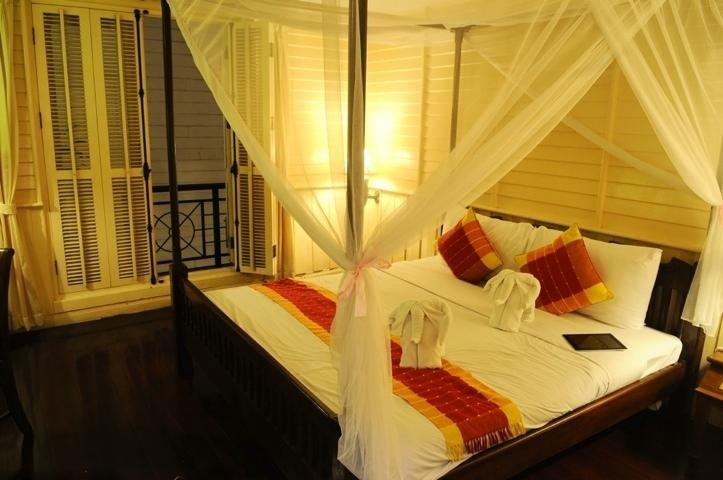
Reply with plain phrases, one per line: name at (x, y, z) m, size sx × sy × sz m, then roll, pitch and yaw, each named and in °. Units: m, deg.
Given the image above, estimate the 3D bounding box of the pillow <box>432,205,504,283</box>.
pillow at (0.831, 0.095, 4.555) m, size 0.621 × 0.490 × 0.182 m, roll -32°, pitch 41°, yaw -3°

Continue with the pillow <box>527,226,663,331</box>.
pillow at (1.828, 0.313, 3.616) m, size 0.609 × 0.607 × 0.188 m, roll 22°, pitch 4°, yaw 36°

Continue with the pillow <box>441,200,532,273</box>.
pillow at (1.085, -0.004, 4.261) m, size 0.189 × 0.590 × 0.616 m, roll 38°, pitch -3°, yaw -41°
